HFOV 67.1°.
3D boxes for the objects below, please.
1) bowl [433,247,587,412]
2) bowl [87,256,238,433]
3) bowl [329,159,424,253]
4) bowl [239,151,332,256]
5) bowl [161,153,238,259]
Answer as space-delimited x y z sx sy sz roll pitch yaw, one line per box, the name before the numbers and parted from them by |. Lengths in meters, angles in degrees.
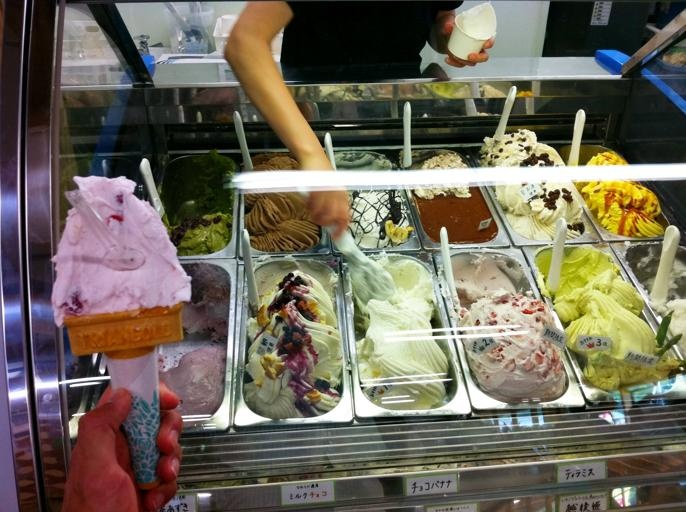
bowl | 0.463 0.262 1.764 0.349 0.092 0.528 -4 58 -10
bowl | -0.469 0.260 1.642 0.325 0.151 0.441 -2 57 -6
bowl | 0.139 -0.205 1.855 0.274 0.070 0.380 -9 78 -14
bowl | -0.233 -0.154 1.750 0.302 0.166 0.351 -9 98 -6
bowl | -0.565 -0.207 1.985 0.320 0.157 0.418 -2 76 -3
